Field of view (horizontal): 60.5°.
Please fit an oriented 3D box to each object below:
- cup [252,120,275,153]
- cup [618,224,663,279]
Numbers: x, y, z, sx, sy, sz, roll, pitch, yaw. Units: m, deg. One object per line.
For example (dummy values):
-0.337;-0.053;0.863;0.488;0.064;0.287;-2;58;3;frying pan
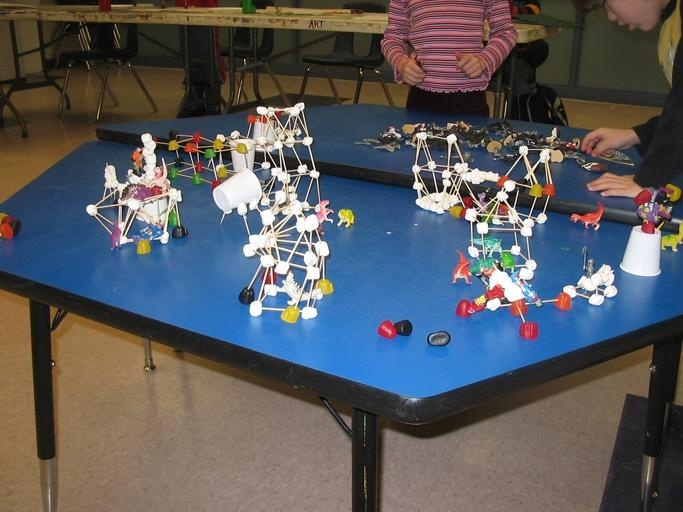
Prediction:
-0.256;-0.394;1.937;0.070;0.107;0.068;1;-21;0;cup
0.645;-0.011;1.308;0.091;0.101;0.097;-3;22;1;cup
